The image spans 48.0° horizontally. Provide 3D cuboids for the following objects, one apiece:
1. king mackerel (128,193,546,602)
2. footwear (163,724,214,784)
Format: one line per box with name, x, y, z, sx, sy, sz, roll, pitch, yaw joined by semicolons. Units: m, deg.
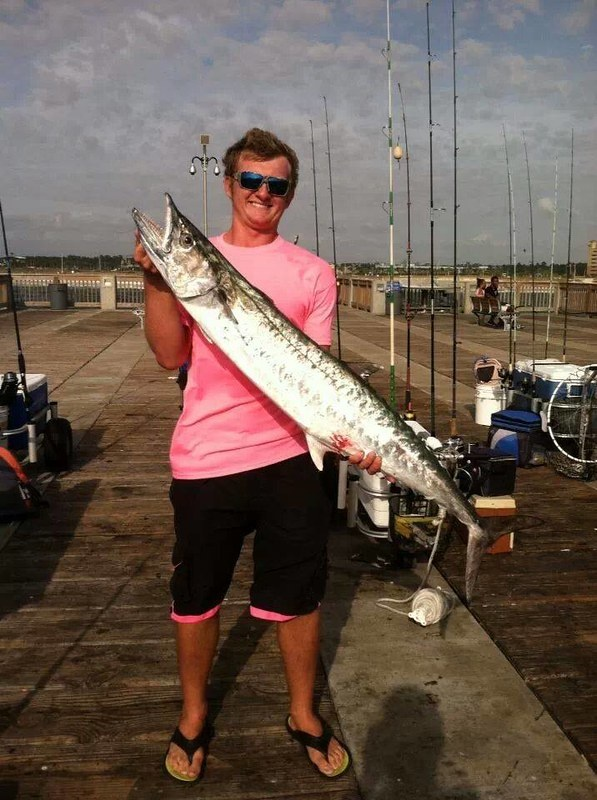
king mackerel;-0.040;-0.060;1.903;0.343;1.547;0.380;-51;-3;24
footwear;-0.341;1.112;2.098;0.100;0.065;0.252;11;-18;-3
